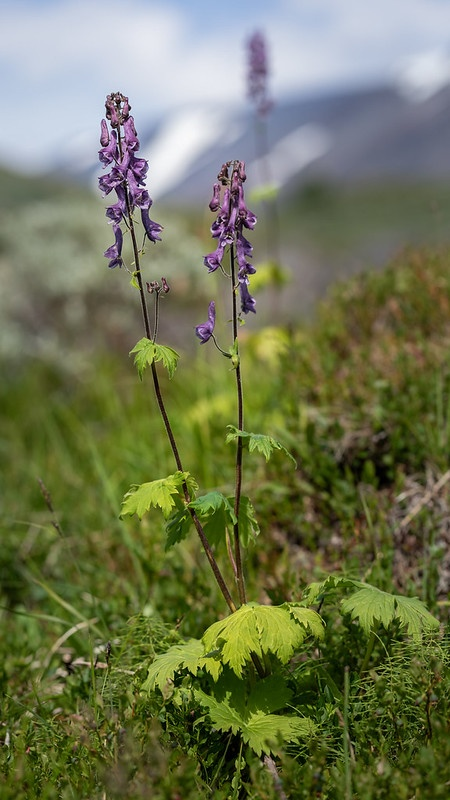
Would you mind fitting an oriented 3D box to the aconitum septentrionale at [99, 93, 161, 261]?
[{"bbox_3d":[-0.300,-0.648,2.095,0.183,0.484,0.278,-11,12,-4],"label":"aconitum septentrionale"}]

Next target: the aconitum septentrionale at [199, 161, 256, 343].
[{"bbox_3d":[0.019,-0.469,2.117,0.171,0.449,0.271,-10,12,2],"label":"aconitum septentrionale"}]
